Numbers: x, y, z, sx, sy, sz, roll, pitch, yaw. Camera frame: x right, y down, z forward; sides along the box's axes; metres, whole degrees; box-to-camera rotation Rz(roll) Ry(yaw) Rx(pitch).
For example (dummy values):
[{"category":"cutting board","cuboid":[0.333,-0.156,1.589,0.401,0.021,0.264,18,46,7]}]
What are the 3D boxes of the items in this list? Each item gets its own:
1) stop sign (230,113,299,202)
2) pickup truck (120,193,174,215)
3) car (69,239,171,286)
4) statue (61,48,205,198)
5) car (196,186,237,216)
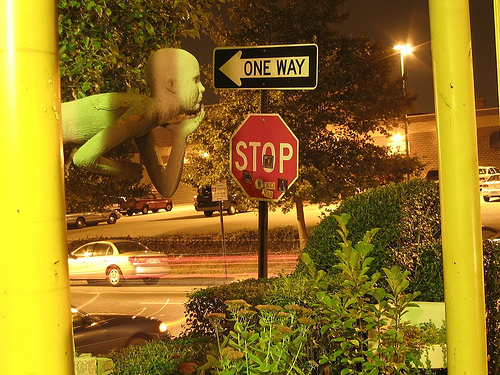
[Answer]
[{"category":"stop sign","cuboid":[0.125,-0.313,6.055,0.746,0.916,0.031,4,8,22]},{"category":"pickup truck","cuboid":[-5.634,0.964,32.113,3.404,1.319,1.586,-10,11,-41]},{"category":"car","cuboid":[-3.470,1.961,15.653,2.612,0.866,0.874,-2,2,19]},{"category":"statue","cuboid":[-0.646,-0.362,3.345,0.778,0.606,0.360,-3,2,-20]},{"category":"car","cuboid":[-2.492,0.917,35.408,1.447,1.285,2.729,-3,4,13]}]
